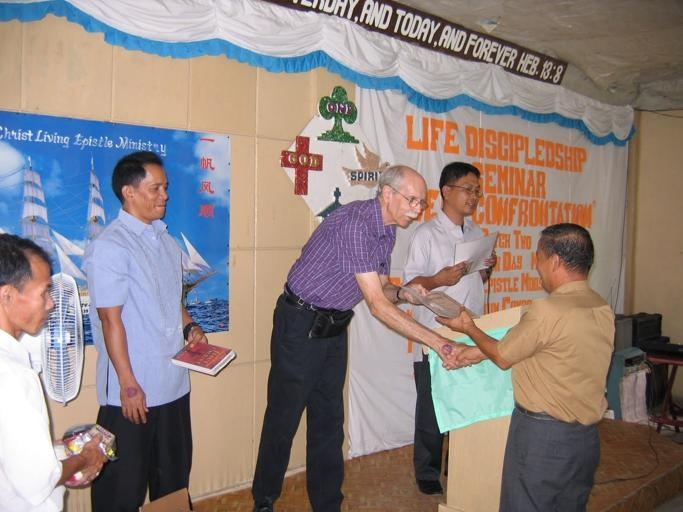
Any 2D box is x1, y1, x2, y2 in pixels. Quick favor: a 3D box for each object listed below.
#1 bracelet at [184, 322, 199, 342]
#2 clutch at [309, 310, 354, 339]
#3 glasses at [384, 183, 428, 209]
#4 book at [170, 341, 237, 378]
[{"bbox_3d":[-0.930,0.455,3.759,0.104,0.103,0.107,-7,2,5],"label":"bracelet"},{"bbox_3d":[-0.076,0.420,3.782,0.185,0.190,0.076,-25,26,-11],"label":"clutch"},{"bbox_3d":[0.377,-0.339,3.551,0.160,0.049,0.155,43,13,29],"label":"glasses"},{"bbox_3d":[-0.790,0.571,3.453,0.219,0.048,0.229,12,19,19],"label":"book"}]
